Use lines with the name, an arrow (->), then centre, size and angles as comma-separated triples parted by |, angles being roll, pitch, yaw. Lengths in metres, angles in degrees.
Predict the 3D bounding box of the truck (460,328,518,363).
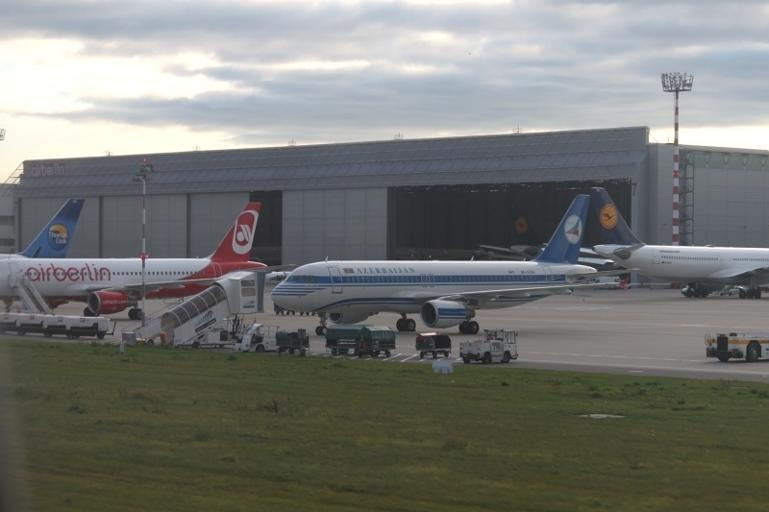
truck -> 5.021, 4.454, 63.012 | 1.649, 1.251, 2.704 | 2, 3, 42
